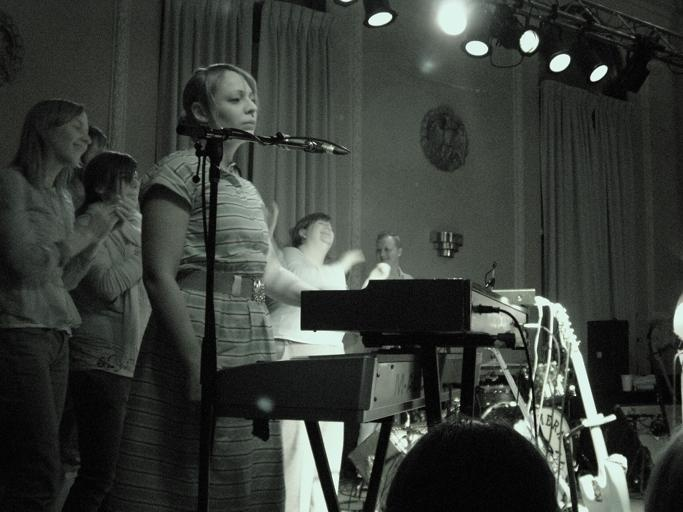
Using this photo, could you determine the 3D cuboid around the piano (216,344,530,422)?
[{"bbox_3d":[0.009,0.405,2.428,0.807,0.288,0.370,16,-21,-38],"label":"piano"}]
